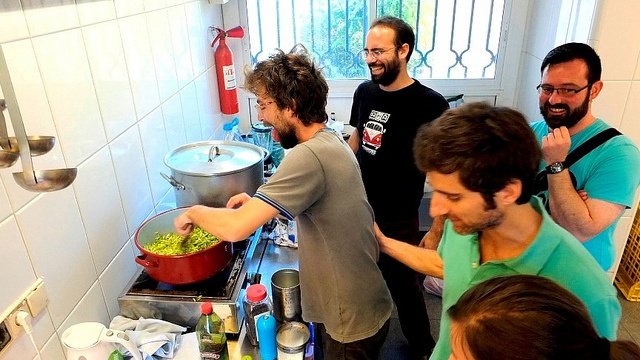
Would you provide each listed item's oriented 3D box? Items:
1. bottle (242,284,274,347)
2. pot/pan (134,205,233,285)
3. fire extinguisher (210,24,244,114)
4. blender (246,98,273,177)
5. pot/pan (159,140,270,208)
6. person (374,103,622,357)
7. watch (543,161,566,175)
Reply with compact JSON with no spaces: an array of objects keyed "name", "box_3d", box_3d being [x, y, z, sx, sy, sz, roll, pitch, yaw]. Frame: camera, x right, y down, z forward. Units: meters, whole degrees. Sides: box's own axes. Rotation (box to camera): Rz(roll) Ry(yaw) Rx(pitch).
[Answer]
[{"name":"bottle","box_3d":[-0.309,0.752,2.235,0.158,0.327,0.132,6,24,18]},{"name":"pot/pan","box_3d":[-0.802,0.388,2.329,0.509,0.192,0.558,16,27,20]},{"name":"fire extinguisher","box_3d":[-0.817,-0.976,3.659,0.383,0.765,0.210,-20,38,-31]},{"name":"blender","box_3d":[-0.437,-0.292,3.473,0.204,0.407,0.136,-29,15,-26]},{"name":"pot/pan","box_3d":[-0.694,-0.090,2.603,0.619,0.277,0.460,-10,24,-23]},{"name":"person","box_3d":[0.828,0.137,2.040,0.949,1.180,0.887,3,1,-22]},{"name":"watch","box_3d":[1.267,-0.067,2.211,0.075,0.070,0.075,0,-3,-34]}]
